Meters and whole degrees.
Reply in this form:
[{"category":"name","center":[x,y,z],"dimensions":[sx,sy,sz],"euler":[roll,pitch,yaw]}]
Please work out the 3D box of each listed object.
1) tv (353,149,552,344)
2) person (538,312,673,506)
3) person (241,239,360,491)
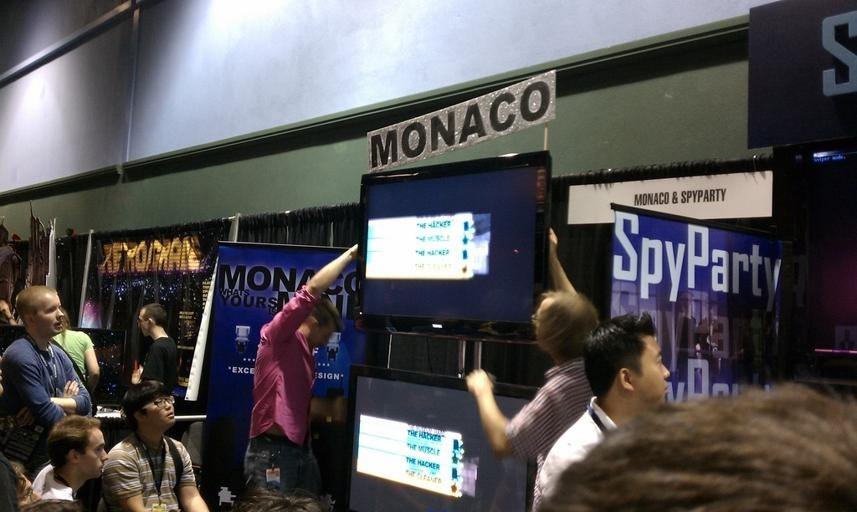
[{"category":"tv","center":[0.167,-0.044,4.375],"dimensions":[1.276,1.087,0.127],"euler":[0,-1,24]},{"category":"person","center":[0.876,0.780,3.567],"dimensions":[0.515,0.949,1.011],"euler":[0,-4,-10]},{"category":"person","center":[-1.010,0.971,5.284],"dimensions":[0.716,1.814,0.604],"euler":[0,-1,-12]}]
